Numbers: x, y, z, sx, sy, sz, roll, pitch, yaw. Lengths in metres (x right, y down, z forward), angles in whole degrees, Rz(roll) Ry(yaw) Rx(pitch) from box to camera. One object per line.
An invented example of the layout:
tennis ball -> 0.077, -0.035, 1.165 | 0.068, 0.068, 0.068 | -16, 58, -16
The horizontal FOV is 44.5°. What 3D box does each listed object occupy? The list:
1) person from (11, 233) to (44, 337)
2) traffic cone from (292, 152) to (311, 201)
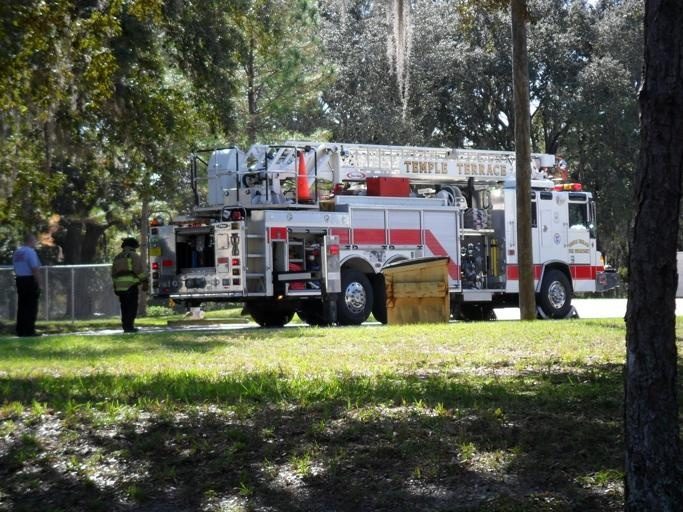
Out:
person -> -6.067, 0.576, 16.195 | 0.485, 1.961, 1.032 | -2, 3, -22
traffic cone -> -0.823, -1.725, 18.204 | 0.333, 1.169, 0.817 | -1, 3, -3
